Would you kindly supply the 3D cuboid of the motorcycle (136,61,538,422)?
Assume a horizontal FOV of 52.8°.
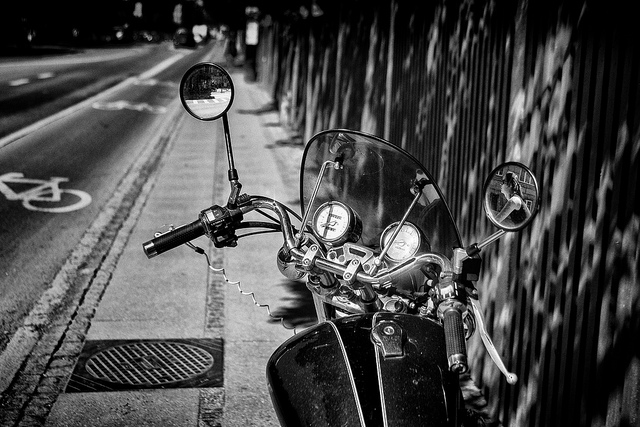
[{"bbox_3d":[0.136,0.306,3.653,1.986,1.506,0.998,15,12,32],"label":"motorcycle"}]
